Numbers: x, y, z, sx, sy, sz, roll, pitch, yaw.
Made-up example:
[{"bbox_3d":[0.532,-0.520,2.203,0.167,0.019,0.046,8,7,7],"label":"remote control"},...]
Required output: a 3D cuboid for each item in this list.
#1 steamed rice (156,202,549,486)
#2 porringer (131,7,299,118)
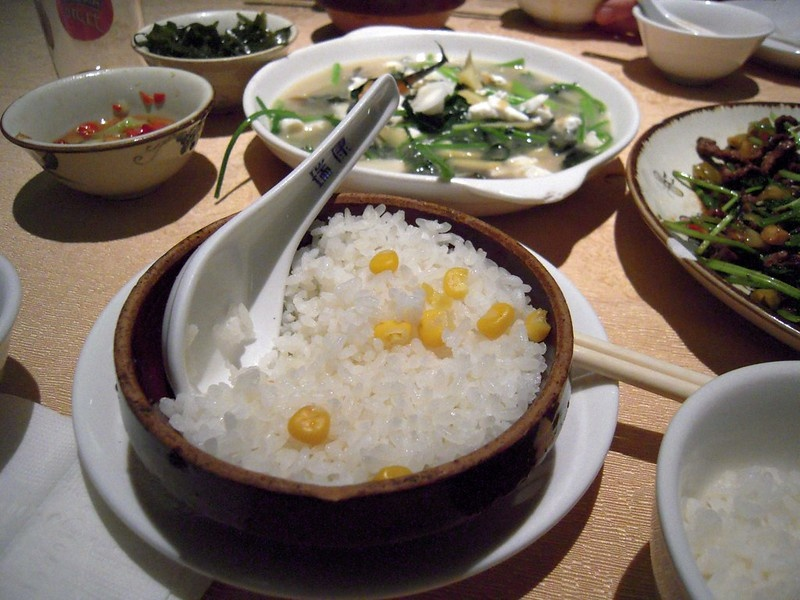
[{"bbox_3d":[-0.045,0.106,1.210,0.523,0.175,0.496,21,55,19],"label":"steamed rice"},{"bbox_3d":[-0.579,-0.815,2.150,0.474,0.187,0.470,2,38,0],"label":"porringer"}]
